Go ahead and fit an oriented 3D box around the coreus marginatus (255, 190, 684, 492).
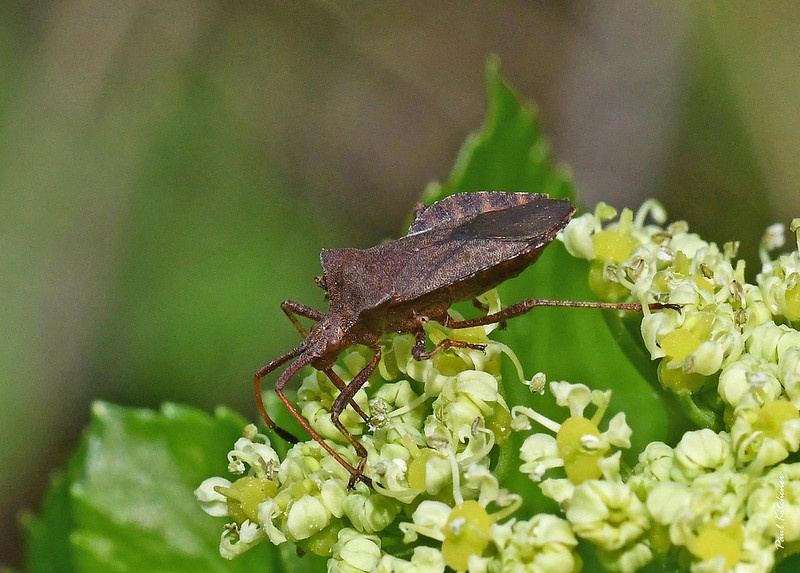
[{"bbox_3d":[0.068,-0.012,2.788,1.013,0.330,0.796,-38,28,2],"label":"coreus marginatus"}]
